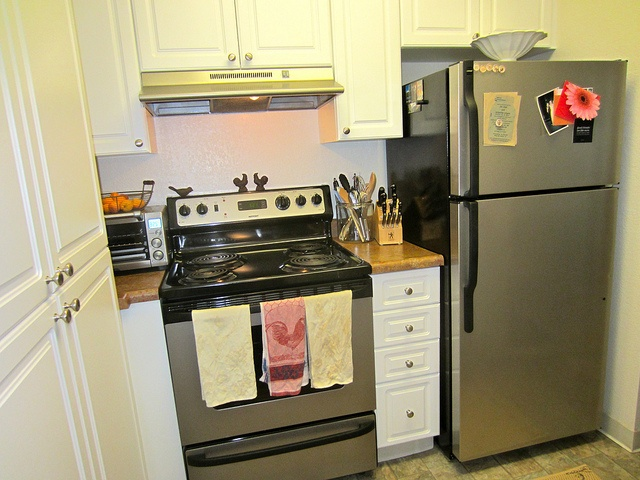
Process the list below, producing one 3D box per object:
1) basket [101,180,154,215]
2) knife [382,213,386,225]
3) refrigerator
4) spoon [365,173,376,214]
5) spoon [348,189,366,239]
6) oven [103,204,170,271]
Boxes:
[{"bbox_3d":[-0.926,-0.192,2.538,0.228,0.111,0.195,-10,14,-34],"label":"basket"},{"bbox_3d":[0.323,-0.108,2.654,0.016,0.055,0.028,-3,33,1],"label":"knife"},{"bbox_3d":[0.953,0.106,2.505,0.990,1.861,0.606,-4,18,1],"label":"refrigerator"},{"bbox_3d":[0.258,-0.250,2.762,0.047,0.186,0.048,9,7,25],"label":"spoon"},{"bbox_3d":[0.211,-0.120,2.756,0.072,0.285,0.048,-7,16,25],"label":"spoon"},{"bbox_3d":[-0.881,-0.027,2.502,0.266,0.265,0.271,-6,13,-20],"label":"oven"}]
